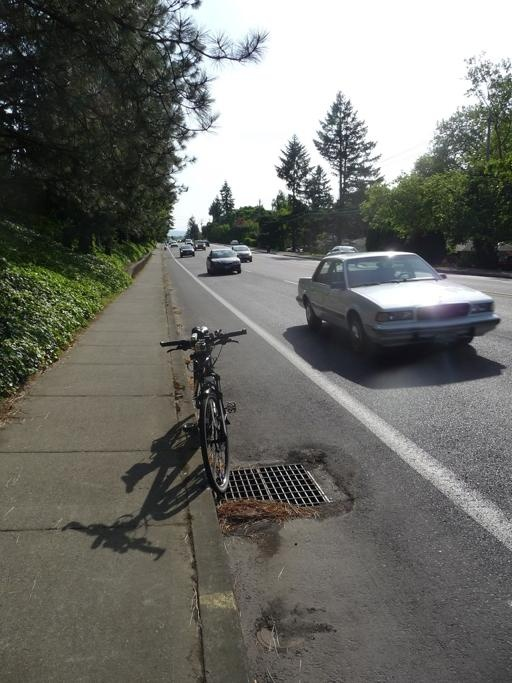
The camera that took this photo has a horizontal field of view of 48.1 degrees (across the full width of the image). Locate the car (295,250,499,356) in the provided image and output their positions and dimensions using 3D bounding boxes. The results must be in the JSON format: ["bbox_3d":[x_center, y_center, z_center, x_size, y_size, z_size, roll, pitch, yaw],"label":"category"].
[{"bbox_3d":[1.846,-0.671,9.221,1.459,1.056,3.261,-4,9,-15],"label":"car"}]

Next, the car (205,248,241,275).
[{"bbox_3d":[-1.900,-4.269,31.186,1.077,0.796,2.383,-4,13,-9],"label":"car"}]
